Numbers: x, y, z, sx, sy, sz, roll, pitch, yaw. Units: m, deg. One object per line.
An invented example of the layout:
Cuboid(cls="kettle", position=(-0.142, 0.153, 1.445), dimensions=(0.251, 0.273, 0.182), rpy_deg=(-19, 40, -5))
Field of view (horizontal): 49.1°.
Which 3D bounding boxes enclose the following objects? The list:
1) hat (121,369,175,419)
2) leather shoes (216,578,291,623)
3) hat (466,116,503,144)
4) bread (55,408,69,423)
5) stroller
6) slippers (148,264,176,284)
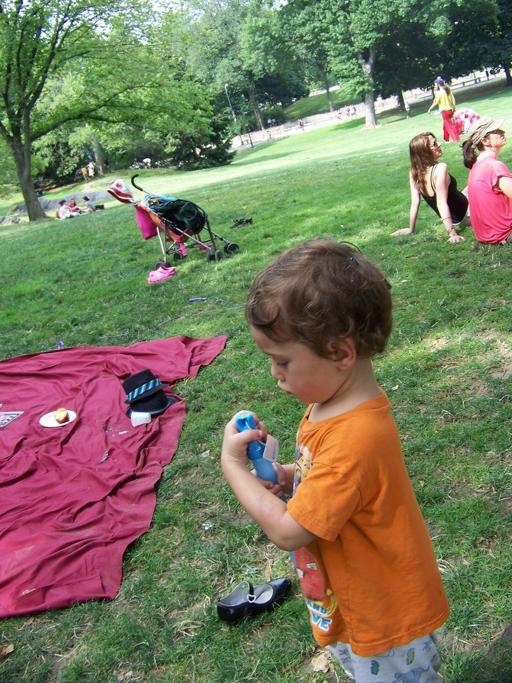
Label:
Cuboid(cls="hat", position=(-0.963, 0.452, 4.851), dimensions=(0.391, 0.217, 0.593), rpy_deg=(-19, 13, -14))
Cuboid(cls="leather shoes", position=(0.002, 1.125, 2.496), dimensions=(0.314, 0.111, 0.149), rpy_deg=(-18, 12, -15))
Cuboid(cls="hat", position=(2.460, -2.291, 6.052), dimensions=(0.312, 0.132, 0.239), rpy_deg=(-19, 21, 45))
Cuboid(cls="bread", position=(-1.687, 0.652, 4.860), dimensions=(0.120, 0.101, 0.114), rpy_deg=(-1, -6, 12))
Cuboid(cls="stroller", position=(-1.251, -2.017, 9.240), dimensions=(1.652, 1.384, 0.946), rpy_deg=(5, 26, 16))
Cuboid(cls="slippers", position=(-1.491, -1.046, 8.800), dimensions=(0.263, 0.177, 0.458), rpy_deg=(1, 13, 33))
